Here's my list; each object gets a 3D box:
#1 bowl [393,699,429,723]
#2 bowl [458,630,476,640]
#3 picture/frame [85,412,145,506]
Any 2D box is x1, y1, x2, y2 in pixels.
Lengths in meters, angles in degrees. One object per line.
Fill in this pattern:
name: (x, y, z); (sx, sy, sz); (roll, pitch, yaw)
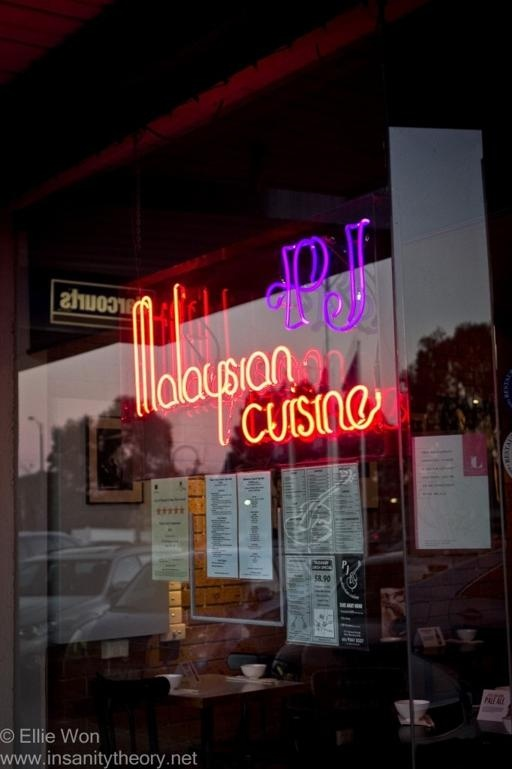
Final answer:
bowl: (0.491, 1.041, 2.339); (0.112, 0.082, 0.034); (-7, -9, 27)
bowl: (0.672, 0.801, 2.351); (0.069, 0.040, 0.013); (0, -9, -24)
picture/frame: (-0.695, 0.390, 3.687); (0.409, 0.598, 0.021); (-6, -7, 42)
